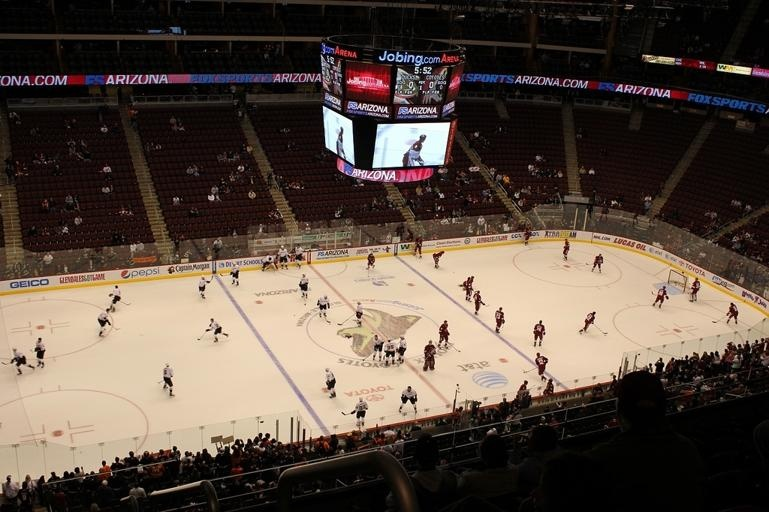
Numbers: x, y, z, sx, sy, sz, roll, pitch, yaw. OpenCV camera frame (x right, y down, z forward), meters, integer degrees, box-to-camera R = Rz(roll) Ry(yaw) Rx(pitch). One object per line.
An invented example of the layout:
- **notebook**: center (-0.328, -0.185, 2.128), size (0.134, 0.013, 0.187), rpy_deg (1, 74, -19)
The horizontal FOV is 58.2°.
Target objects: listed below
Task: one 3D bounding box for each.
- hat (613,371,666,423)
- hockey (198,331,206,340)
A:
- **hat**: center (2.989, 1.649, 8.116), size (0.523, 0.654, 0.630), rpy_deg (0, 32, 19)
- **hockey**: center (-8.765, 3.796, 33.059), size (0.277, 0.415, 0.574), rpy_deg (-7, -10, 9)
